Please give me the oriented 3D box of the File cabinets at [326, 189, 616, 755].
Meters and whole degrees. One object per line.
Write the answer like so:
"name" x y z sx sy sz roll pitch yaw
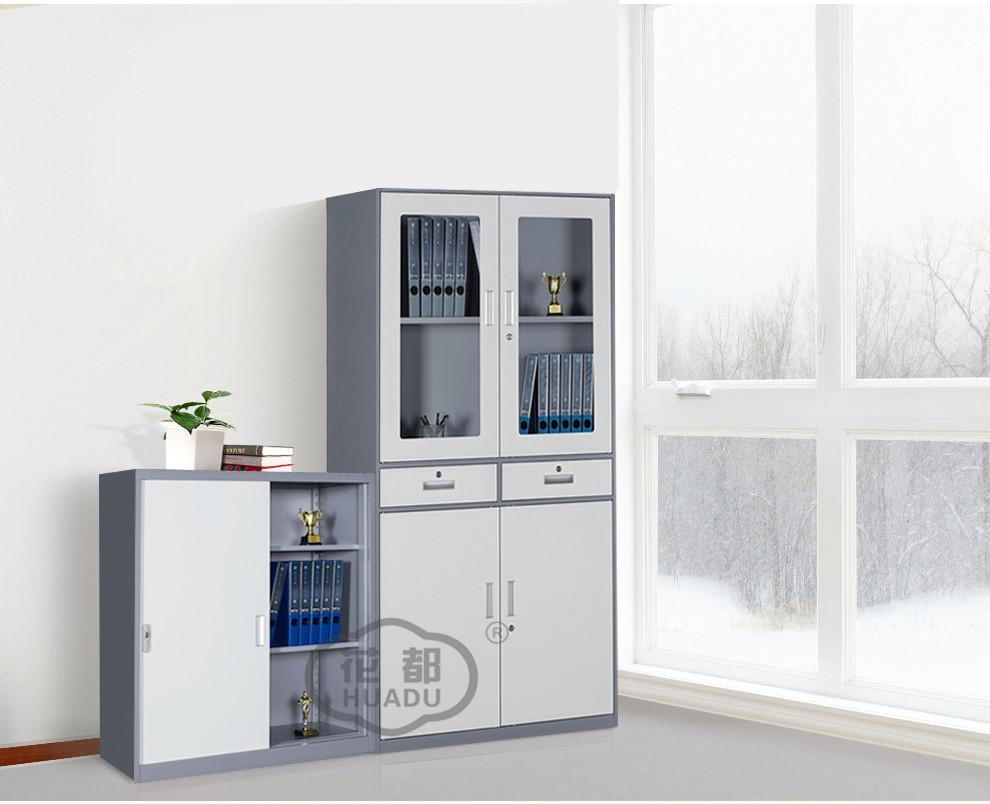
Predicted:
"File cabinets" -0.071 0.263 4.923 1.310 2.529 0.577 0 5 -16

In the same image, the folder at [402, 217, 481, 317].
"folder" -0.272 -0.572 5.134 0.356 0.783 0.525 0 1 -5

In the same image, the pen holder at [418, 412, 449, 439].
"pen holder" -0.286 0.112 4.828 0.131 0.132 0.081 3 -6 -29

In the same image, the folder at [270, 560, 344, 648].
"folder" -0.822 0.863 4.678 0.305 0.515 0.344 1 1 -5

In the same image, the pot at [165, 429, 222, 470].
"pot" -1.327 0.183 4.583 0.187 0.208 0.190 1 1 0

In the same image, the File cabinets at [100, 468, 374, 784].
"File cabinets" -1.109 0.961 4.380 1.108 1.368 0.432 0 -3 -32

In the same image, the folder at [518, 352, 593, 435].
"folder" 0.294 -0.028 4.939 0.288 0.605 0.578 -1 -10 8

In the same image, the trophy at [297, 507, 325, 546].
"trophy" -0.846 0.576 4.737 0.133 0.187 0.136 5 -8 -42

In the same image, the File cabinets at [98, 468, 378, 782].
"File cabinets" -1.107 0.956 4.386 1.108 1.366 0.426 0 -3 -32
